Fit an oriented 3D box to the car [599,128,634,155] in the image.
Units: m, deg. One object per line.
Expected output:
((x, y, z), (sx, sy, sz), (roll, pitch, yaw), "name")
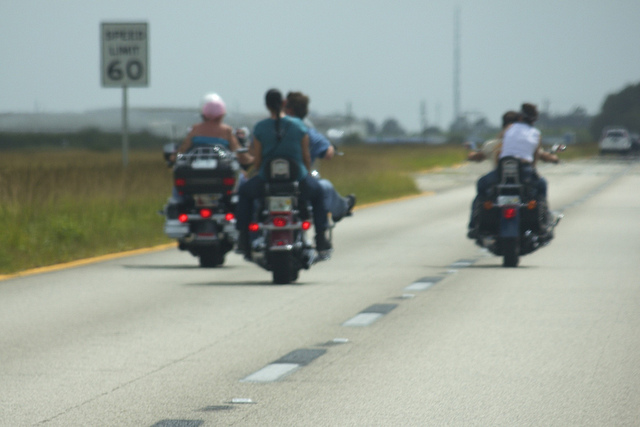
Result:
((21.368, -5.253, 70.233), (1.702, 1.450, 3.092), (2, 15, 14), "car")

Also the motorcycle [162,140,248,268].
((-1.889, -0.252, 14.906), (0.994, 1.314, 2.280), (0, 4, 3), "motorcycle")

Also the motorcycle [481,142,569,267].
((3.065, -0.470, 16.055), (1.247, 1.575, 2.667), (1, 15, 9), "motorcycle")

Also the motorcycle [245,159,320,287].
((-0.551, 0.149, 13.466), (1.035, 1.858, 0.629), (0, 9, -5), "motorcycle")
